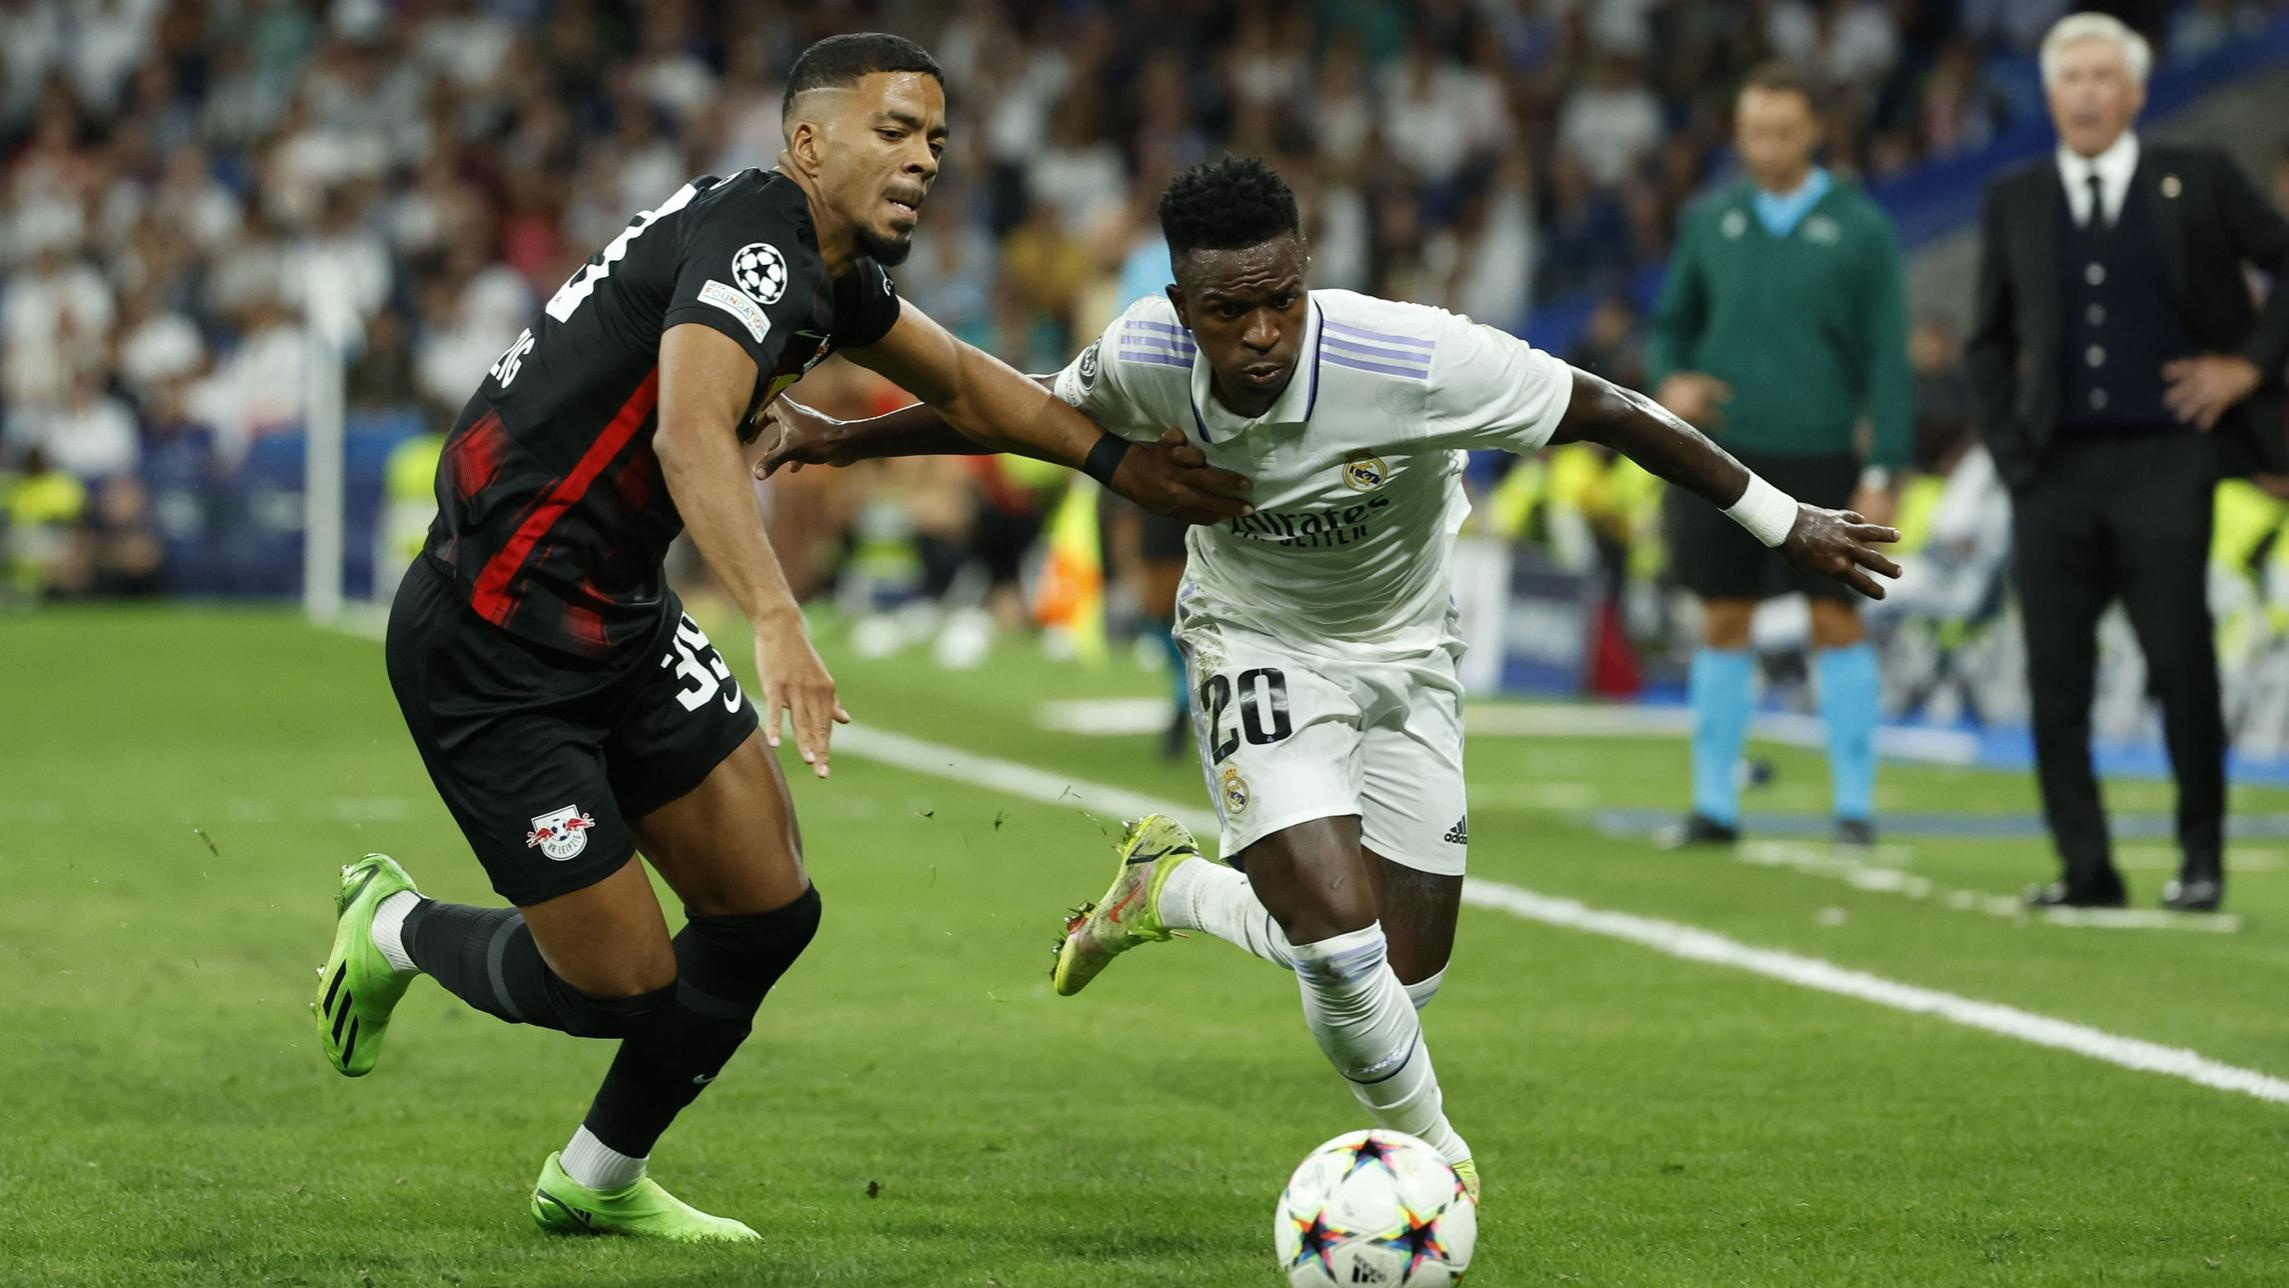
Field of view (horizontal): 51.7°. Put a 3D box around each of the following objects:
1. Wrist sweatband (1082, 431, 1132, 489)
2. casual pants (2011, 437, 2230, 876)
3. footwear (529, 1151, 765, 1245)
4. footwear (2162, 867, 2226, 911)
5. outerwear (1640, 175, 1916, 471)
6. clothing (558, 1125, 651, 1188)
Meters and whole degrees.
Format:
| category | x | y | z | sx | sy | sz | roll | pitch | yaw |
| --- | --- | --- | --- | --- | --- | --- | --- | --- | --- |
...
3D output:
| category | x | y | z | sx | sy | sz | roll | pitch | yaw |
| --- | --- | --- | --- | --- | --- | --- | --- | --- | --- |
| Wrist sweatband | -0.169 | -0.635 | 8.022 | 0.180 | 0.170 | 0.186 | 10 | 2 | -43 |
| casual pants | 4.287 | 0.028 | 10.443 | 0.626 | 2.055 | 0.902 | -5 | 6 | -41 |
| footwear | -1.539 | 1.797 | 7.768 | 0.862 | 0.319 | 0.281 | 3 | -7 | -4 |
| footwear | 4.504 | 1.069 | 10.181 | 0.216 | 0.091 | 0.193 | 10 | -25 | -41 |
| outerwear | 3.155 | -1.632 | 11.780 | 1.451 | 1.353 | 0.772 | 12 | 23 | 33 |
| clothing | -1.770 | 1.686 | 7.769 | 0.248 | 0.169 | 0.188 | -1 | -8 | 7 |
